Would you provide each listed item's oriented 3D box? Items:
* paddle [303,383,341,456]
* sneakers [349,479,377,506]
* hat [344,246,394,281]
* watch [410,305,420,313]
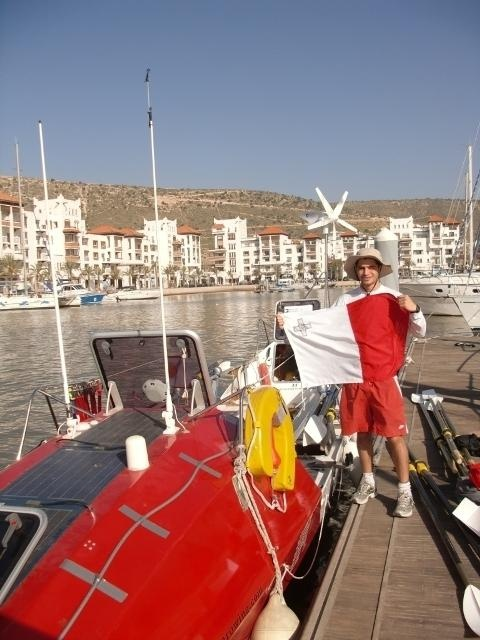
[{"bbox_3d":[0.911,1.151,5.477,0.288,0.327,0.925,-9,10,21],"label":"paddle"},{"bbox_3d":[1.087,1.519,4.277,0.134,0.162,0.366,1,-9,26],"label":"sneakers"},{"bbox_3d":[1.066,-0.501,4.065,0.324,0.321,0.142,-8,48,28],"label":"hat"},{"bbox_3d":[1.298,-0.078,3.601,0.031,0.064,0.063,26,22,22],"label":"watch"}]
